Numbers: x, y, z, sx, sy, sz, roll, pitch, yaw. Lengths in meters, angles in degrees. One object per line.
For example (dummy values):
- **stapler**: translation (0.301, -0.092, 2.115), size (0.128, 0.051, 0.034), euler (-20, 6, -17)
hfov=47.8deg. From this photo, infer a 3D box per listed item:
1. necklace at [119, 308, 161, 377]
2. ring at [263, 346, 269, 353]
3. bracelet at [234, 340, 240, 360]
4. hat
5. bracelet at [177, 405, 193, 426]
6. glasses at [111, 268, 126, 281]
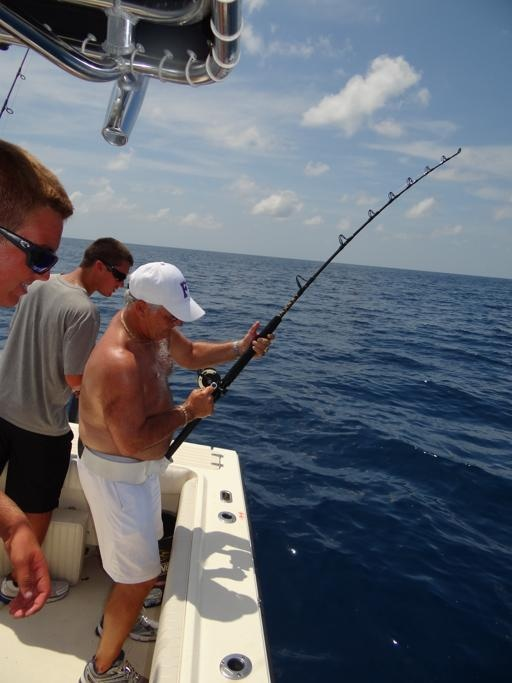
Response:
- **necklace**: translation (-0.436, 0.010, 2.185), size (0.191, 0.231, 0.063), euler (1, 7, -3)
- **ring**: translation (0.041, 0.044, 2.750), size (0.008, 0.030, 0.030), euler (41, -26, -5)
- **bracelet**: translation (-0.092, 0.038, 2.878), size (0.023, 0.067, 0.072), euler (1, 9, -23)
- **hat**: translation (-0.317, -0.201, 2.155), size (0.321, 0.156, 0.191), euler (16, 26, 7)
- **bracelet**: translation (-0.283, 0.288, 2.241), size (0.064, 0.030, 0.079), euler (0, -38, 38)
- **glasses**: translation (-0.671, -0.317, 2.815), size (0.057, 0.025, 0.040), euler (15, 13, 22)
